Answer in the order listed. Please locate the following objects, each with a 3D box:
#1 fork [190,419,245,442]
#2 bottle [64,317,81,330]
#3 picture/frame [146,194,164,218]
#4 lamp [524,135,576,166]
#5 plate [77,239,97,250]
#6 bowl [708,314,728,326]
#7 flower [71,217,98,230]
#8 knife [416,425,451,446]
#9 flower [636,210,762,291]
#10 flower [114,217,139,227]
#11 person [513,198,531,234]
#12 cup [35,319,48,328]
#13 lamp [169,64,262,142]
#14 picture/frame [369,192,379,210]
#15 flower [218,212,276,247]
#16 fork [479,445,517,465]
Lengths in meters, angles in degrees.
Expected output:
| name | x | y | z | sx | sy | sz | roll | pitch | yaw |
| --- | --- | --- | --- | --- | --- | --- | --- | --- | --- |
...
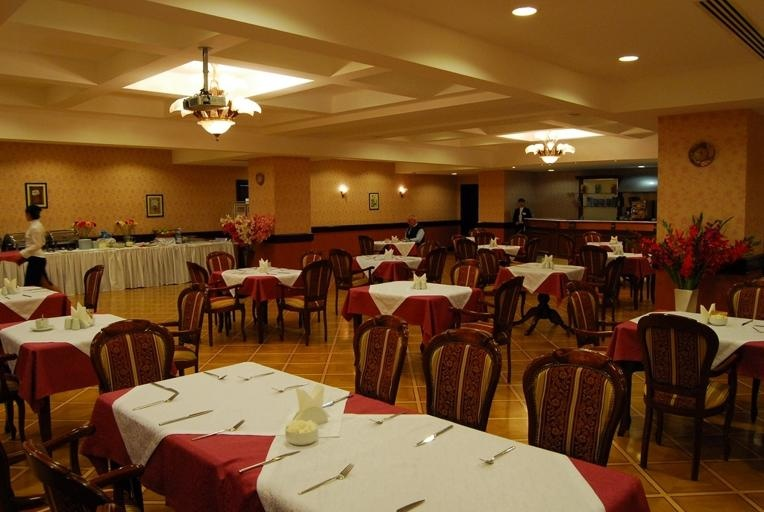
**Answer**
| name | x | y | z | sx | sy | sz | roll | pitch | yaw |
| --- | --- | --- | --- | --- | --- | --- | --- | --- | --- |
| fork | -1.008 | 1.074 | 3.338 | 0.362 | 0.056 | 0.049 | -1 | 11 | -37 |
| bottle | -2.912 | 0.633 | 5.130 | 0.178 | 0.103 | 0.103 | 1 | 10 | 1 |
| picture/frame | -6.056 | -1.342 | 14.466 | 0.049 | 0.722 | 0.578 | 6 | 8 | 38 |
| lamp | 3.925 | -2.453 | 12.973 | 0.998 | 0.539 | 1.034 | 1 | 2 | 5 |
| plate | -6.418 | -0.249 | 11.807 | 0.242 | 0.190 | 0.251 | 4 | 0 | 6 |
| bowl | 3.129 | 0.595 | 5.085 | 0.108 | 0.053 | 0.130 | -2 | -2 | 11 |
| flower | -6.726 | -0.678 | 12.250 | 0.478 | 0.269 | 0.472 | -1 | 4 | -35 |
| knife | 0.346 | 1.071 | 3.330 | 0.069 | 0.028 | 0.498 | 5 | 4 | 33 |
| flower | 4.083 | -0.047 | 7.134 | 1.282 | 1.176 | 1.261 | -2 | 2 | 44 |
| flower | -6.522 | -0.848 | 13.911 | 0.466 | 0.212 | 0.476 | 2 | -4 | -19 |
| person | 4.452 | -1.286 | 17.409 | 0.533 | 1.073 | 1.580 | 2 | 10 | 12 |
| cup | -3.204 | 0.634 | 5.130 | 0.081 | 0.061 | 0.087 | 4 | 6 | 0 |
| lamp | -2.378 | -2.163 | 7.614 | 1.052 | 1.131 | 1.091 | -1 | 1 | 1 |
| picture/frame | -0.273 | -1.707 | 16.958 | 0.054 | 0.608 | 0.539 | 1 | 0 | 37 |
| flower | -2.792 | -0.551 | 11.337 | 0.810 | 0.722 | 1.017 | 4 | 5 | 13 |
| fork | 0.677 | 1.125 | 3.127 | 0.068 | 0.066 | 0.374 | 16 | 9 | 37 |
